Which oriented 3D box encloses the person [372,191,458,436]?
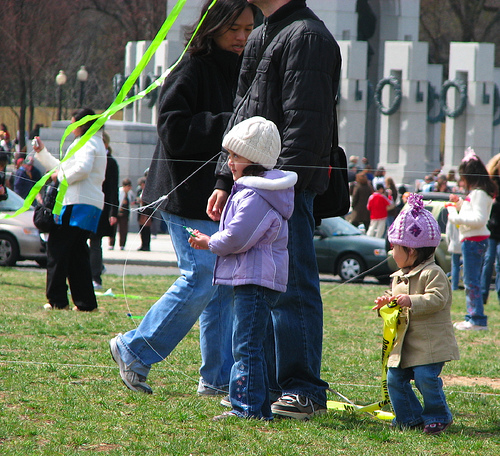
[{"bbox_3d":[0.972,0.497,8.277,0.340,1.392,0.467,0,2,-38],"label":"person"}]

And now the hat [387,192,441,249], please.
[{"bbox_3d":[0.971,-0.050,8.336,0.286,0.329,0.283,0,-2,-8],"label":"hat"}]

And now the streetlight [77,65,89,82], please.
[{"bbox_3d":[-1.425,-1.290,11.673,0.090,0.143,0.098,1,1,-10],"label":"streetlight"}]

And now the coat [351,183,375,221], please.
[{"bbox_3d":[1.143,-0.279,14.464,0.227,0.373,0.129,-3,28,-7],"label":"coat"}]

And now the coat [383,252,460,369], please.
[{"bbox_3d":[1.045,0.522,8.592,0.495,0.874,0.638,4,-7,-10],"label":"coat"}]

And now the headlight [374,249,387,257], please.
[{"bbox_3d":[1.505,0.306,16.560,0.119,0.071,0.080,3,1,-3],"label":"headlight"}]

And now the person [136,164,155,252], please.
[{"bbox_3d":[-0.895,-0.137,11.335,0.186,0.807,0.210,-7,-37,2],"label":"person"}]

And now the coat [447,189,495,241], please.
[{"bbox_3d":[1.834,-0.120,11.755,0.342,0.414,0.403,2,3,17],"label":"coat"}]

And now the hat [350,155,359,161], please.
[{"bbox_3d":[0.677,-0.460,9.184,0.057,0.037,0.122,2,2,30],"label":"hat"}]

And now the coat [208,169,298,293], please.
[{"bbox_3d":[0.009,-0.005,8.218,0.433,0.726,0.564,4,7,3],"label":"coat"}]

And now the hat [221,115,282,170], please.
[{"bbox_3d":[0.011,-0.505,8.191,0.290,0.273,0.266,33,-4,-19],"label":"hat"}]

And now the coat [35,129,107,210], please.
[{"bbox_3d":[-1.420,-0.438,10.872,0.483,0.734,0.523,3,0,-22],"label":"coat"}]

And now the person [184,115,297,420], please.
[{"bbox_3d":[-0.007,0.235,8.091,0.506,1.754,0.250,1,1,1],"label":"person"}]

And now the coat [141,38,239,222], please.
[{"bbox_3d":[-0.310,-0.593,8.894,0.627,1.090,0.742,17,8,32],"label":"coat"}]
